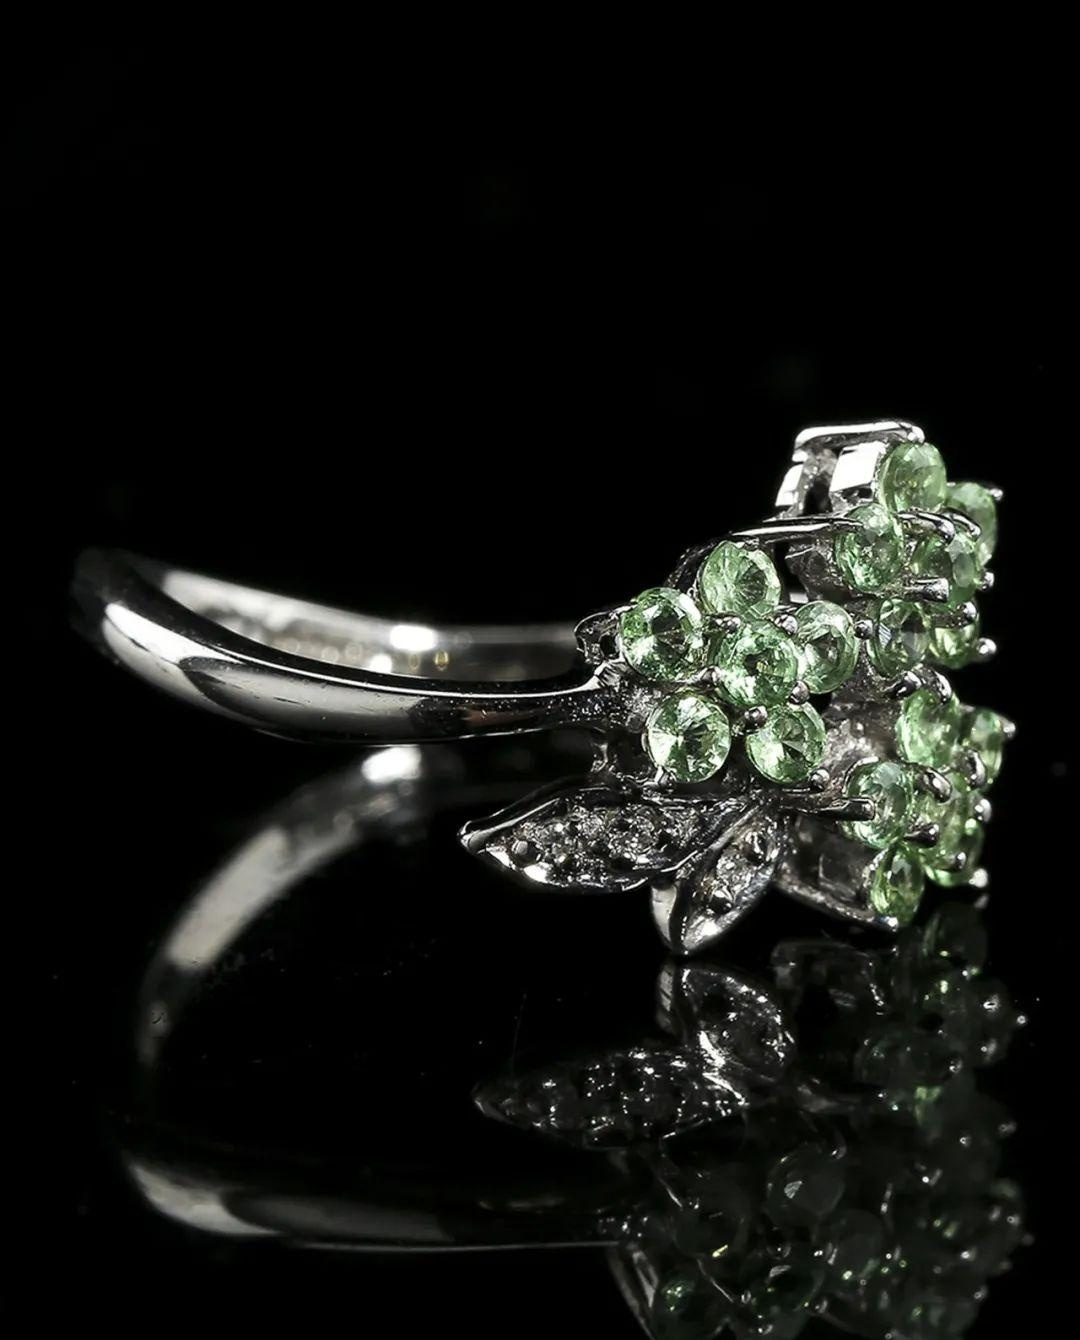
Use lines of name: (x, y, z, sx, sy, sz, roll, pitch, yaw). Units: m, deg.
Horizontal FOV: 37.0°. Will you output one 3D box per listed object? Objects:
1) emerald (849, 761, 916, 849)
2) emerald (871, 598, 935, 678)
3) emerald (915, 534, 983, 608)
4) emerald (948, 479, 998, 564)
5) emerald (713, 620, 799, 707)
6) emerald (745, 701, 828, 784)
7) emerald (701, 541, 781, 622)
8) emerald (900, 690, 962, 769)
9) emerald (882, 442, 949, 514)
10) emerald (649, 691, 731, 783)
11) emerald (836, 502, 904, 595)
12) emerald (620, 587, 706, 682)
emerald: (0.327, 0.131, 1.568, 0.050, 0.084, 0.074, 17, 36, 35)
emerald: (0.361, -0.035, 1.620, 0.050, 0.077, 0.076, 4, 30, 19)
emerald: (0.410, -0.097, 1.663, 0.099, 0.044, 0.067, 10, 38, 1)
emerald: (0.489, -0.162, 1.790, 0.082, 0.046, 0.092, 7, 39, 22)
emerald: (0.201, -0.006, 1.514, 0.092, 0.073, 0.033, -8, -5, 17)
emerald: (0.236, 0.078, 1.544, 0.075, 0.094, 0.035, -8, 31, -1)
emerald: (0.190, -0.090, 1.559, 0.078, 0.067, 0.080, -13, 29, -12)
emerald: (0.393, 0.056, 1.628, 0.071, 0.073, 0.044, -7, 15, -38)
emerald: (0.381, -0.193, 1.659, 0.068, 0.076, 0.086, 1, 29, 13)
emerald: (0.143, 0.074, 1.533, 0.084, 0.100, 0.058, -5, 30, 4)
emerald: (0.332, -0.118, 1.619, 0.057, 0.089, 0.072, 10, 33, 27)
emerald: (0.116, -0.033, 1.543, 0.082, 0.091, 0.062, -4, 30, 5)
